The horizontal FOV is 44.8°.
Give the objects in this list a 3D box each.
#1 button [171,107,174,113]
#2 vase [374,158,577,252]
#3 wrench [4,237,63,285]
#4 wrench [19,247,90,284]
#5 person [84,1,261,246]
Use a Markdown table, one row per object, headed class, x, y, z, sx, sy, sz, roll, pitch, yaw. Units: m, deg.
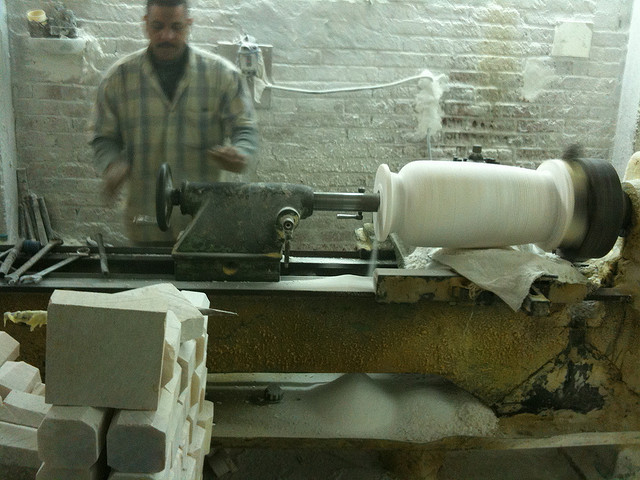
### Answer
| class | x | y | z | sx | sy | sz | roll | pitch | yaw |
| --- | --- | --- | --- | --- | --- | --- | --- | --- | --- |
| button | -0.912 | -0.808 | 4.780 | 0.015 | 0.026 | 0.005 | 2 | 17 | 4 |
| vase | 0.820 | -0.258 | 4.111 | 0.806 | 0.572 | 0.493 | 0 | 7 | -5 |
| wrench | -1.507 | 0.113 | 4.068 | 0.080 | 0.073 | 0.468 | 12 | 34 | 4 |
| wrench | -1.375 | 0.132 | 4.051 | 0.095 | 0.062 | 0.530 | 21 | 26 | 13 |
| person | -0.897 | -0.685 | 4.757 | 1.017 | 1.499 | 0.503 | 2 | 17 | 3 |
